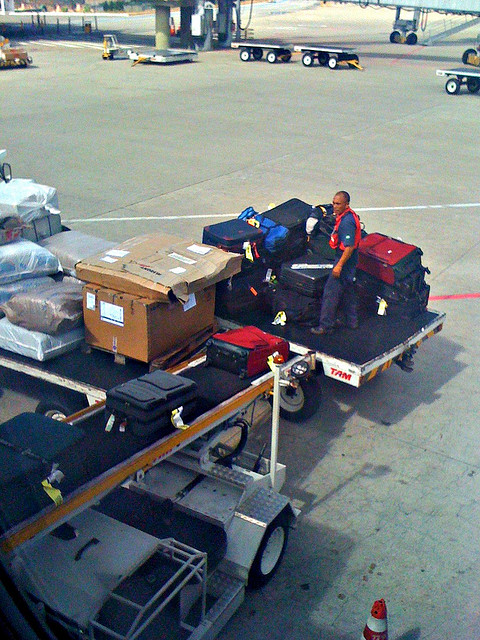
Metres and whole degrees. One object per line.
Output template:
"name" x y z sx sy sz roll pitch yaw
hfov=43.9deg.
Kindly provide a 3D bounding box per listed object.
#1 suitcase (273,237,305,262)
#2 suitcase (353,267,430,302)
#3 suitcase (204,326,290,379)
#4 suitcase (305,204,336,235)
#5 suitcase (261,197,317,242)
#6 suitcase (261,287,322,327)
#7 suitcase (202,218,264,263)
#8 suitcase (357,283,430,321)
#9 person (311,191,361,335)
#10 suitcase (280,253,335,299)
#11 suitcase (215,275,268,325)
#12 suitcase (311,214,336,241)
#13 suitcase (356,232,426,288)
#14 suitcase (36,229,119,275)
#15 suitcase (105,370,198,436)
"suitcase" 0.720 -1.011 8.759 0.459 0.106 0.443 -23 35 -32
"suitcase" 2.006 -0.489 8.178 0.712 0.230 0.630 29 37 28
"suitcase" 0.040 0.308 6.295 0.576 0.310 0.802 16 26 33
"suitcase" 1.215 -1.587 9.211 0.321 0.358 1.134 8 22 14
"suitcase" 0.781 -1.455 9.144 0.801 0.213 0.775 -26 48 -37
"suitcase" 0.657 -0.203 7.815 0.667 0.192 0.494 17 24 29
"suitcase" -0.128 -1.148 8.041 0.869 0.370 0.650 -22 38 -38
"suitcase" 1.986 -0.241 8.154 0.809 0.262 0.587 17 37 32
"person" 1.260 -0.692 7.353 0.573 1.706 0.753 7 25 10
"suitcase" 0.862 -0.581 8.137 0.804 0.204 0.733 8 22 8
"suitcase" 0.108 -0.310 7.769 0.548 0.495 0.908 11 23 22
"suitcase" 1.316 -1.463 9.181 0.370 0.174 0.419 24 75 30
"suitcase" 1.916 -0.900 8.147 0.900 0.380 0.745 33 55 28
"suitcase" -2.212 -1.048 8.253 0.727 0.169 0.792 -24 59 -36
"suitcase" -0.705 0.660 4.848 0.504 0.278 0.687 14 21 29
